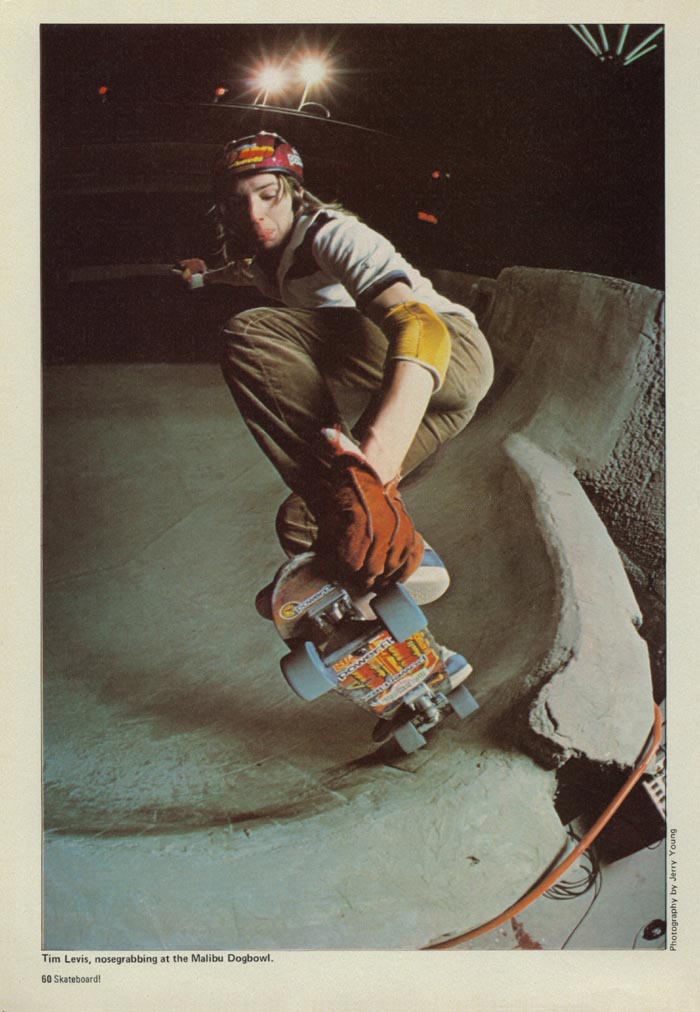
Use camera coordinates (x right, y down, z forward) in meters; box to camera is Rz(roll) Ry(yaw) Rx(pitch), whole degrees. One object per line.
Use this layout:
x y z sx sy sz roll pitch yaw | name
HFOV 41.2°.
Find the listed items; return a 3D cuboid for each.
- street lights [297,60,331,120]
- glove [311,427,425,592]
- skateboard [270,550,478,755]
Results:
-0.117 -1.347 2.993 0.116 0.192 0.067 -6 17 0 | street lights
0.012 0.022 3.062 0.315 0.197 0.512 -33 50 -7 | glove
0.139 0.503 2.931 0.479 0.120 0.863 -34 20 -4 | skateboard
